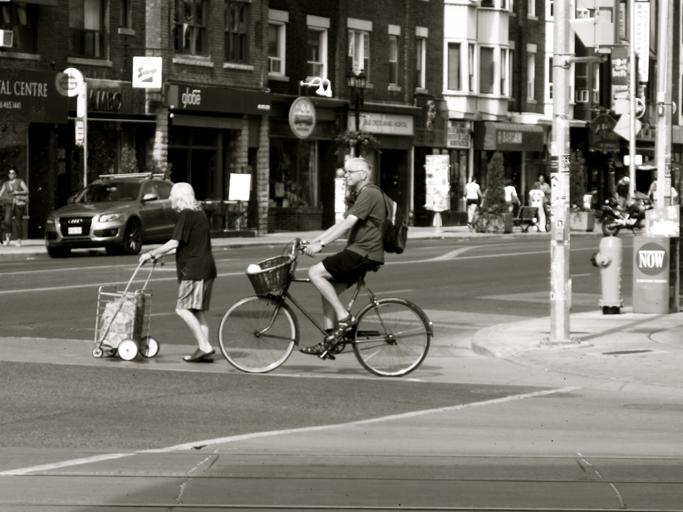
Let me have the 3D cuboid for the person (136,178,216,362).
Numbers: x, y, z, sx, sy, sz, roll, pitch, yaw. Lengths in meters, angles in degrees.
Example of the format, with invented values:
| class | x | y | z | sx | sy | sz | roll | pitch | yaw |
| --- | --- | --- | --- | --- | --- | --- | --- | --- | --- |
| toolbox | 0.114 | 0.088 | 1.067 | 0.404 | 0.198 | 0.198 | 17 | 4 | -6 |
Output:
| class | x | y | z | sx | sy | sz | roll | pitch | yaw |
| --- | --- | --- | --- | --- | --- | --- | --- | --- | --- |
| person | -1.888 | 0.225 | 15.788 | 0.752 | 2.136 | 0.483 | -3 | 5 | -20 |

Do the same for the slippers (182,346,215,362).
| class | x | y | z | sx | sy | sz | roll | pitch | yaw |
| --- | --- | --- | --- | --- | --- | --- | --- | --- | --- |
| slippers | -1.741 | 1.181 | 16.003 | 0.315 | 0.135 | 0.181 | 2 | -2 | 11 |

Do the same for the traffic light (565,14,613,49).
| class | x | y | z | sx | sy | sz | roll | pitch | yaw |
| --- | --- | --- | --- | --- | --- | --- | --- | --- | --- |
| traffic light | 3.367 | -2.951 | 17.709 | 0.414 | 0.437 | 0.563 | -1 | 6 | -9 |

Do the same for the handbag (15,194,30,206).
| class | x | y | z | sx | sy | sz | roll | pitch | yaw |
| --- | --- | --- | --- | --- | --- | --- | --- | --- | --- |
| handbag | -7.963 | -1.342 | 32.566 | 0.236 | 0.239 | 0.245 | 1 | -2 | -7 |

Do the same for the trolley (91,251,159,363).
| class | x | y | z | sx | sy | sz | roll | pitch | yaw |
| --- | --- | --- | --- | --- | --- | --- | --- | --- | --- |
| trolley | -2.615 | 0.833 | 16.471 | 1.069 | 1.786 | 1.010 | 1 | 7 | -20 |

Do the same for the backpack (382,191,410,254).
| class | x | y | z | sx | sy | sz | roll | pitch | yaw |
| --- | --- | --- | --- | --- | --- | --- | --- | --- | --- |
| backpack | 0.569 | -0.367 | 14.985 | 0.244 | 0.678 | 0.270 | -4 | 12 | -43 |

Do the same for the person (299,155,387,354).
| class | x | y | z | sx | sy | sz | roll | pitch | yaw |
| --- | --- | --- | --- | --- | --- | --- | --- | --- | --- |
| person | 0.001 | 0.012 | 15.206 | 0.964 | 2.188 | 0.979 | 3 | 9 | -16 |

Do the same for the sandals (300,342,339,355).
| class | x | y | z | sx | sy | sz | roll | pitch | yaw |
| --- | --- | --- | --- | --- | --- | --- | --- | --- | --- |
| sandals | -0.261 | 1.059 | 15.078 | 0.463 | 0.210 | 0.164 | 4 | -1 | -2 |

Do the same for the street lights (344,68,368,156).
| class | x | y | z | sx | sy | sz | roll | pitch | yaw |
| --- | --- | --- | --- | --- | --- | --- | --- | --- | --- |
| street lights | 0.470 | -4.584 | 43.337 | 0.685 | 2.684 | 0.745 | -2 | 9 | -34 |

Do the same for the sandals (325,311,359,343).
| class | x | y | z | sx | sy | sz | roll | pitch | yaw |
| --- | --- | --- | --- | --- | --- | --- | --- | --- | --- |
| sandals | -0.031 | 0.844 | 15.010 | 0.502 | 0.181 | 0.212 | -43 | -24 | 25 |

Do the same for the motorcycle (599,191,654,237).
| class | x | y | z | sx | sy | sz | roll | pitch | yaw |
| --- | --- | --- | --- | --- | --- | --- | --- | --- | --- |
| motorcycle | 8.982 | -1.222 | 42.125 | 1.213 | 1.081 | 2.743 | 3 | 6 | 34 |

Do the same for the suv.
| class | x | y | z | sx | sy | sz | roll | pitch | yaw |
| --- | --- | --- | --- | --- | --- | --- | --- | --- | --- |
| suv | -5.310 | -0.973 | 32.061 | 2.041 | 1.963 | 4.920 | -1 | 2 | 16 |
